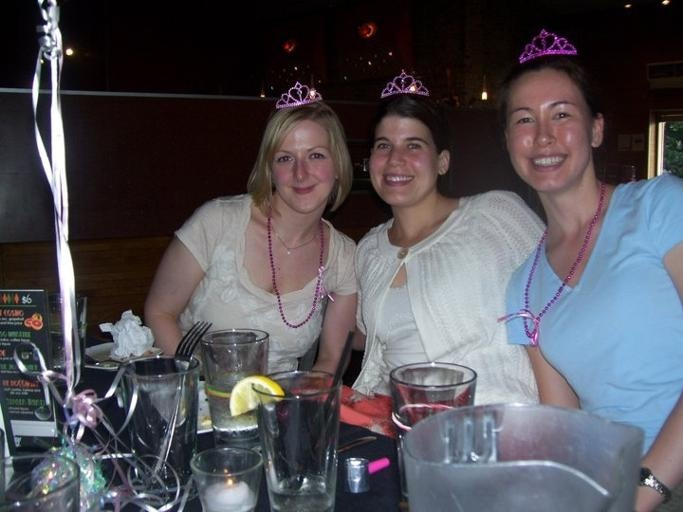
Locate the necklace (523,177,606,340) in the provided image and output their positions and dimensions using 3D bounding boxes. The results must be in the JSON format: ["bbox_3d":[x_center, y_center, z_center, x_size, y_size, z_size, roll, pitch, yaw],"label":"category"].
[{"bbox_3d":[0.633,0.056,1.593,0.061,0.552,0.173,26,-20,-26],"label":"necklace"}]

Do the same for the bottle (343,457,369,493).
[{"bbox_3d":[0.027,0.401,1.039,0.044,0.054,0.046,0,-10,0],"label":"bottle"}]

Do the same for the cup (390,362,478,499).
[{"bbox_3d":[0.150,0.309,0.962,0.148,0.218,0.203,0,5,13],"label":"cup"}]

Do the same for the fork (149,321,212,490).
[{"bbox_3d":[-0.315,0.303,1.125,0.026,0.258,0.033,8,-7,38],"label":"fork"}]
